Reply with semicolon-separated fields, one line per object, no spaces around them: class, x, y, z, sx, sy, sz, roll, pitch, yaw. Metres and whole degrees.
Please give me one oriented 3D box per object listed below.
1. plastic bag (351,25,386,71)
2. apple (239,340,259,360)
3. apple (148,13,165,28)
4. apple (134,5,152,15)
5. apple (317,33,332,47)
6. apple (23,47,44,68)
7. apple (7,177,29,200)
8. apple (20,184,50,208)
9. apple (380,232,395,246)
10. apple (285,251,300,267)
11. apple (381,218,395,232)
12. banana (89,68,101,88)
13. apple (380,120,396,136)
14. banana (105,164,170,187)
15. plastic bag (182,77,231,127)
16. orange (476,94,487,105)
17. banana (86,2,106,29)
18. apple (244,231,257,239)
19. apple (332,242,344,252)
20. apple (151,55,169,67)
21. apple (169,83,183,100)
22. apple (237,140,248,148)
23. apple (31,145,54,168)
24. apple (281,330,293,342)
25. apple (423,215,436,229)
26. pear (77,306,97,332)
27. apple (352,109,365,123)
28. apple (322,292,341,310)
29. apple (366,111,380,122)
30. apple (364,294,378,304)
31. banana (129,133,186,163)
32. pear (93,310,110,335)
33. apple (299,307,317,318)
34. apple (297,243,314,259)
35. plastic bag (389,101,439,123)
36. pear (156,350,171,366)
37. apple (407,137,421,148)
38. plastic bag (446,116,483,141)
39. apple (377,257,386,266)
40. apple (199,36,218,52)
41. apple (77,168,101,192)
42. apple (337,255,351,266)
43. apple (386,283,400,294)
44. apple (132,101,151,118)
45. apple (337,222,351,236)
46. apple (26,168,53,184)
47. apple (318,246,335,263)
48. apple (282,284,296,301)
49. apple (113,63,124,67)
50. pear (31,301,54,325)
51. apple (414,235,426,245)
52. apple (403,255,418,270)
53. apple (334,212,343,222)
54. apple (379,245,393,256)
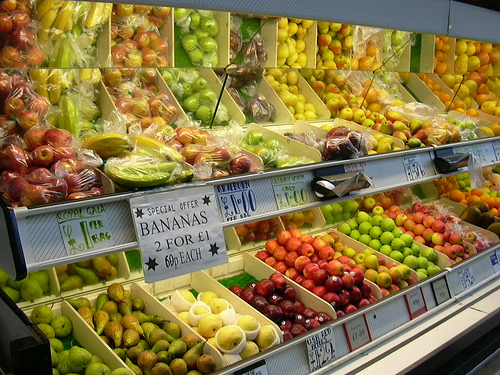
plastic bag;1.055;-1.238;3.293;0.289;0.377;0.195;0;16;21
apple;0.004;0.773;1.790;0.065;0.068;0.112;2;18;27
apple;-0.521;-0.932;2.062;0.070;0.081;0.073;3;-19;21
apple;-0.592;-0.990;2.067;0.116;0.057;0.036;3;17;28
apple;0.682;-1.345;3.385;0.141;0.111;0.081;-8;15;-7
apple;-1.191;-0.698;2.053;0.083;0.102;0.055;-44;8;-33
apple;-0.873;0.008;1.395;0.071;0.093;0.070;-1;-12;40
apple;-0.779;0.032;1.343;0.093;0.084;0.074;-4;18;-22
apple;0.997;0.371;2.687;0.093;0.080;0.057;0;16;21
apple;0.268;0.455;2.395;0.075;0.102;0.077;28;15;26
apple;1.019;0.275;2.741;0.090;0.095;0.085;4;-16;-4
banana;-0.933;-0.672;2.259;0.057;0.114;0.084;7;25;18
apple;1.111;-0.481;2.975;0.095;0.129;0.101;-3;14;20
banana;-0.431;-0.042;1.465;0.086;0.104;0.285;17;15;43
plastic bag;-0.343;-0.602;2.639;0.251;0.377;0.104;-15;5;-31
orange;2.560;-0.988;4.122;0.100;0.132;0.100;-21;28;-37
banana;-0.882;-1.002;2.152;0.127;0.134;0.062;-5;14;2
apple;0.006;0.335;2.616;0.061;0.058;0.055;-1;21;24
apple;0.627;0.416;2.622;0.075;0.043;0.103;-3;16;11
apple;-0.510;-0.728;2.119;0.072;0.044;0.060;11;47;30
apple;-0.489;-0.660;2.530;0.034;0.095;0.067;18;31;39
apple;-0.043;-0.280;2.363;0.047;0.066;0.049;-1;7;-30
apple;-0.863;-0.129;1.557;0.077;0.087;0.089;-2;-9;-3
apple;0.195;0.769;1.934;0.046;0.051;0.048;3;20;-38
apple;1.385;0.256;2.879;0.074;0.102;0.077;-3;16;-28
pear;-0.802;0.647;1.821;0.034;0.072;0.039;-33;7;31
apple;0.969;-0.644;3.343;0.098;0.105;0.128;-28;31;-11
apple;0.469;0.650;2.123;0.083;0.092;0.092;5;18;33
apple;1.099;-0.617;3.326;0.097;0.090;0.083;7;23;-23
apple;0.716;0.658;2.192;0.060;0.070;0.076;-8;0;25
banana;-0.387;-0.196;1.705;0.381;0.131;0.071;-13;-6;-45
pear;-0.742;0.668;1.840;0.042;0.054;0.096;-27;27;32
apple;0.332;0.707;2.095;0.079;0.050;0.050;-11;21;-24
apple;0.368;0.412;2.456;0.072;0.084;0.086;12;44;-23
plastic bag;1.430;-0.659;3.261;0.416;0.134;0.398;4;19;30
pear;-0.393;0.775;1.688;0.043;0.058;0.049;0;50;-9
apple;1.269;-0.353;2.860;0.090;0.062;0.140;6;20;36
plastic bag;1.852;-0.505;3.196;0.276;0.214;0.195;-12;23;-38
apple;0.889;0.495;2.521;0.048;0.048;0.047;-31;-9;-41
apple;-0.242;-0.836;2.167;0.086;0.078;0.069;1;7;1
apple;-0.653;-0.032;1.521;0.081;0.098;0.087;-1;21;-4
apple;0.611;0.454;2.383;0.047;0.052;0.058;29;14;27
apple;0.913;0.640;2.357;0.060;0.083;0.069;-5;44;-6
apple;-0.678;-0.492;2.335;0.080;0.072;0.104;2;18;17
apple;0.715;0.306;2.799;0.074;0.101;0.078;11;24;28
apple;-0.824;-0.044;1.463;0.078;0.044;0.061;-17;11;-18
apple;0.501;0.428;2.411;0.094;0.074;0.097;-2;16;13
apple;0.229;0.614;2.192;0.063;0.087;0.069;-1;-32;-18
apple;-0.749;-0.702;2.125;0.070;0.023;0.015;1;16;22
pear;-1.050;0.633;1.852;0.068;0.081;0.100;0;-15;-12
apple;1.290;0.391;2.810;0.057;0.067;0.062;-20;-11;14
apple;1.105;0.496;2.557;0.081;0.104;0.088;2;41;32
apple;0.711;0.236;2.985;0.056;0.078;0.060;-1;7;-2
apple;0.965;0.441;2.625;0.062;0.086;0.067;-6;8;5
